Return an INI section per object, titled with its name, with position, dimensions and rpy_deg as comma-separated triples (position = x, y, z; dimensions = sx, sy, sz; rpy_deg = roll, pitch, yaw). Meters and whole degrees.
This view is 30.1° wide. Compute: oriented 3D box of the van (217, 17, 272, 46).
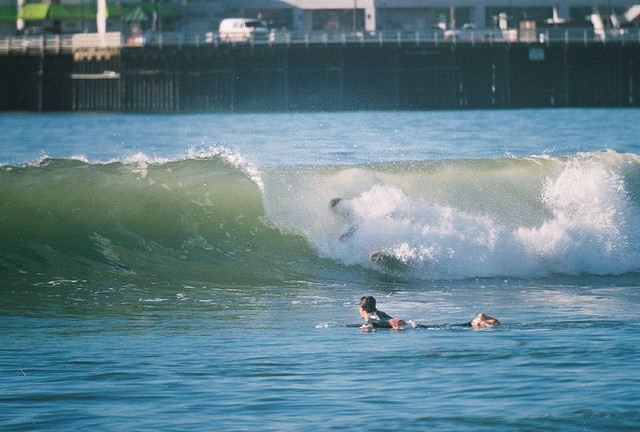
[van]
position = -4.378, -10.599, 68.314
dimensions = 3.092, 1.176, 1.804
rpy_deg = 0, 11, 3

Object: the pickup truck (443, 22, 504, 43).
[pickup truck]
position = 8.724, -10.165, 67.130
dimensions = 3.608, 0.702, 0.909
rpy_deg = -5, 8, -16
